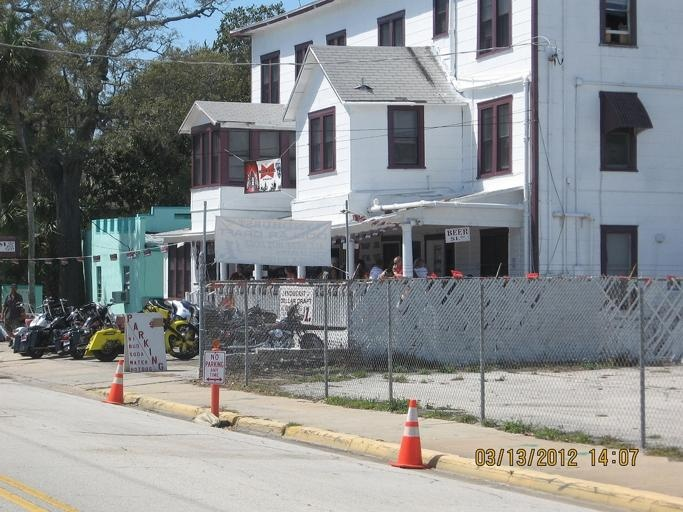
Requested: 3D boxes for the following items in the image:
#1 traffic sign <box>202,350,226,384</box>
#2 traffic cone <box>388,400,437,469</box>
[{"bbox_3d":[-2.882,2.532,27.879,0.442,0.681,0.569,-1,10,-2],"label":"traffic sign"},{"bbox_3d":[1.428,3.550,24.721,0.825,1.285,0.842,1,-3,37],"label":"traffic cone"}]
